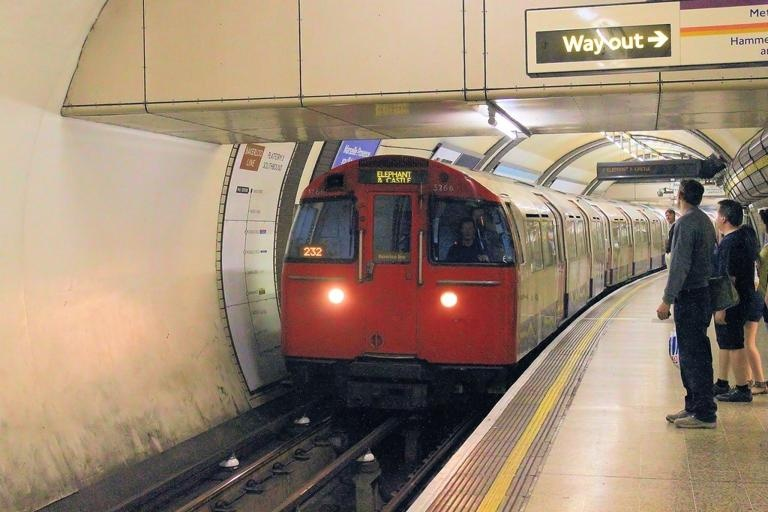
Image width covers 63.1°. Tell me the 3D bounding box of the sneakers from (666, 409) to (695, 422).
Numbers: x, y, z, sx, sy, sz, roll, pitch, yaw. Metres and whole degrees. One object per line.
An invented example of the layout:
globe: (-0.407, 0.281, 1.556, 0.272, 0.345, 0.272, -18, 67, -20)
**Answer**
sneakers: (3.263, 1.755, 6.862, 0.291, 0.127, 0.108, -3, -5, 6)

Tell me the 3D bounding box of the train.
train: (3.599, 0.281, 16.611, 3.470, 3.904, 17.202, 1, 1, 25)

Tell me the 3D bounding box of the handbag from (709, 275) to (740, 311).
handbag: (3.547, 0.389, 6.583, 0.319, 0.462, 0.352, -3, 1, 23)

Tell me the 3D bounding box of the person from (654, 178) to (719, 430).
person: (3.206, 0.536, 6.599, 0.558, 2.667, 0.697, 1, 9, 27)
